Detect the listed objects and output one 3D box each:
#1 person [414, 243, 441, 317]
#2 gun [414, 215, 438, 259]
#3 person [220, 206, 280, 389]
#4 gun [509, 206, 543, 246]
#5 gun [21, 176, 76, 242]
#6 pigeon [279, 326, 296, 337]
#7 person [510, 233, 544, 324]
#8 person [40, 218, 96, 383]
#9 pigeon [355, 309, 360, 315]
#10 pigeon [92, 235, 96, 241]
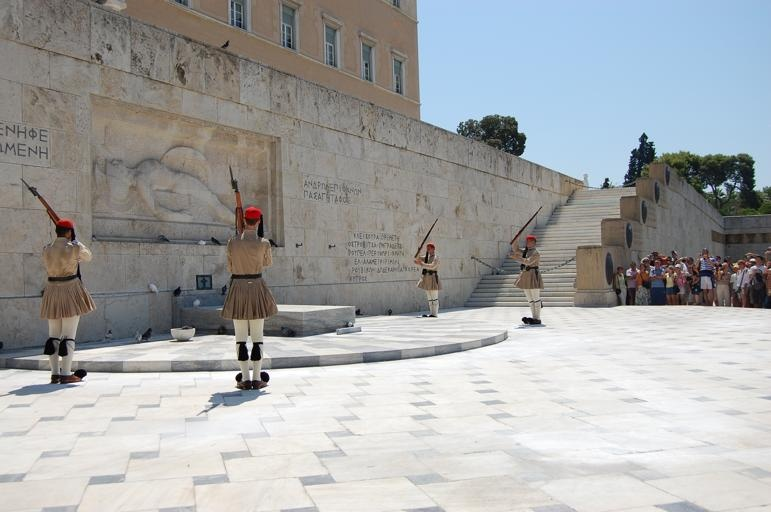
[{"bbox_3d":[1.250,0.723,18.459,0.643,2.216,1.237,0,8,4],"label":"person"},{"bbox_3d":[1.358,-0.631,21.806,0.188,1.576,0.418,36,4,-31],"label":"gun"},{"bbox_3d":[-2.065,0.630,10.763,0.923,2.696,1.070,1,-3,-6],"label":"person"},{"bbox_3d":[5.617,-1.202,27.063,0.317,2.454,0.282,39,9,-28],"label":"gun"},{"bbox_3d":[-6.533,-0.923,13.312,0.621,1.429,0.732,4,-1,-9],"label":"gun"},{"bbox_3d":[-1.964,1.646,14.297,0.203,0.143,0.260,3,-24,-8],"label":"pigeon"},{"bbox_3d":[3.743,0.591,17.416,1.131,2.313,0.933,0,0,12],"label":"person"},{"bbox_3d":[-5.045,0.733,11.213,0.905,2.600,0.867,3,-3,-42],"label":"person"},{"bbox_3d":[-0.685,1.693,19.945,0.129,0.177,0.136,4,13,8],"label":"pigeon"},{"bbox_3d":[-6.131,-0.389,14.619,0.139,0.132,0.131,3,-8,-25],"label":"pigeon"}]
